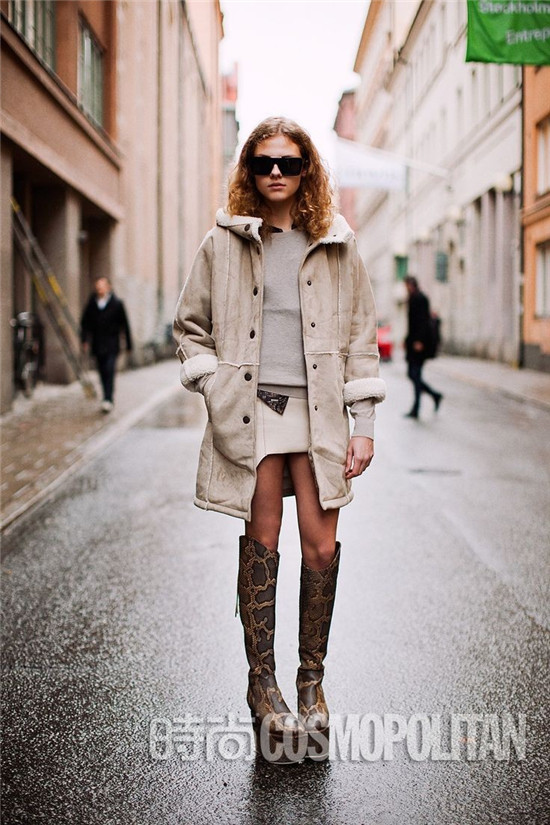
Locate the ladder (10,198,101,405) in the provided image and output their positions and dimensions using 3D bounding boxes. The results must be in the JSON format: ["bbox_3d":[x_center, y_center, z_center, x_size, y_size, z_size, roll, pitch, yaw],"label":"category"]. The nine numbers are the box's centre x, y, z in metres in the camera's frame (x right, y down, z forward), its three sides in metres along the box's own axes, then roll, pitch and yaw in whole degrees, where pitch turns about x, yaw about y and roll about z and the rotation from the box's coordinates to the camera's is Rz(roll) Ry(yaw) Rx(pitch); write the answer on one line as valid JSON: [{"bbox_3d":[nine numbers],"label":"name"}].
[{"bbox_3d":[-0.826,-0.426,2.756,0.055,0.726,0.091,-28,-4,39],"label":"ladder"}]

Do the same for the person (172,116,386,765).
[{"bbox_3d":[0.017,0.062,2.080,0.586,1.727,0.304,0,3,-10],"label":"person"}]
